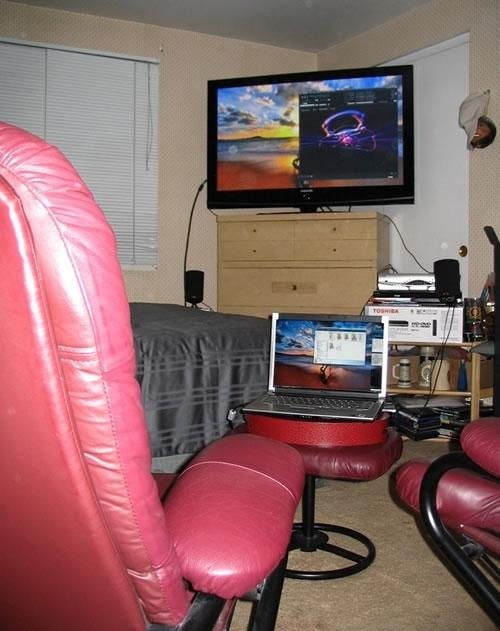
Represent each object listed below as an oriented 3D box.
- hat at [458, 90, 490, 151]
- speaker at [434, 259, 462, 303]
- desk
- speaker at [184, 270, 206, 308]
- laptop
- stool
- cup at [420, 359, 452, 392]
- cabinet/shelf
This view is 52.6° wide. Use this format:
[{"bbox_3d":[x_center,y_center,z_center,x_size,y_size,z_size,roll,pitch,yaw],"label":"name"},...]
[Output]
[{"bbox_3d":[1.319,-1.161,2.982,0.157,0.303,0.167,2,2,27],"label":"hat"},{"bbox_3d":[1.023,-0.179,2.590,0.152,0.222,0.129,1,2,-1],"label":"speaker"},{"bbox_3d":[1.050,0.312,2.866,0.656,0.522,0.505,-2,-6,35],"label":"desk"},{"bbox_3d":[-0.406,-0.198,3.647,0.148,0.254,0.061,0,10,-3],"label":"speaker"},{"bbox_3d":[0.237,0.156,1.574,0.392,0.315,0.257,3,-5,13],"label":"laptop"},{"bbox_3d":[0.208,0.524,1.546,0.556,0.448,0.479,0,2,7],"label":"stool"},{"bbox_3d":[1.011,0.323,2.817,0.168,0.172,0.161,0,2,0],"label":"cup"},{"bbox_3d":[0.320,-0.421,3.604,1.072,0.715,0.549,2,31,7],"label":"cabinet/shelf"}]
